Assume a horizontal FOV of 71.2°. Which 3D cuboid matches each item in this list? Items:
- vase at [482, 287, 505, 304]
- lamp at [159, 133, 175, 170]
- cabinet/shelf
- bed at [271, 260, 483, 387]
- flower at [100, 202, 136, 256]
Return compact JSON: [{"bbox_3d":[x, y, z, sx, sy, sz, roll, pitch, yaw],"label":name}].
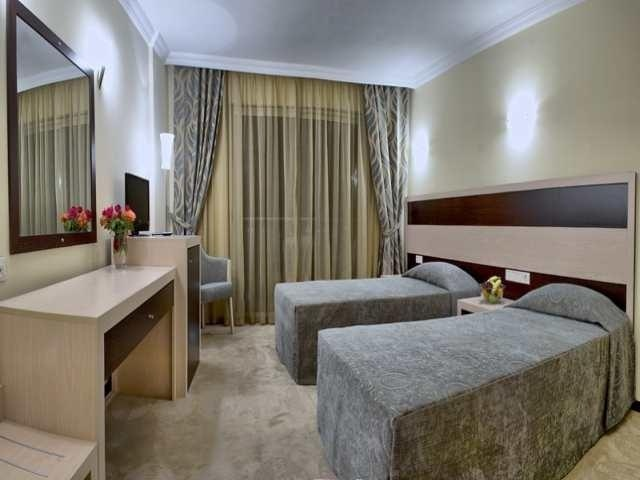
[{"bbox_3d":[1.421,0.445,3.693,0.123,0.106,0.129,-1,-3,30],"label":"vase"},{"bbox_3d":[-1.526,-0.875,4.483,0.142,0.383,0.589,-4,15,-18],"label":"lamp"},{"bbox_3d":[-1.150,0.554,3.124,0.468,1.128,1.018,0,4,-2],"label":"cabinet/shelf"},{"bbox_3d":[0.414,0.532,3.911,1.354,0.774,0.974,-1,3,-18],"label":"bed"},{"bbox_3d":[-1.453,-0.064,3.243,0.248,0.364,0.255,-4,-5,22],"label":"flower"}]
